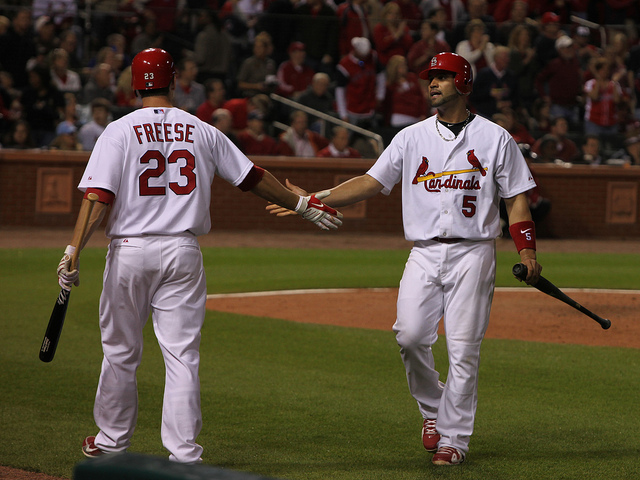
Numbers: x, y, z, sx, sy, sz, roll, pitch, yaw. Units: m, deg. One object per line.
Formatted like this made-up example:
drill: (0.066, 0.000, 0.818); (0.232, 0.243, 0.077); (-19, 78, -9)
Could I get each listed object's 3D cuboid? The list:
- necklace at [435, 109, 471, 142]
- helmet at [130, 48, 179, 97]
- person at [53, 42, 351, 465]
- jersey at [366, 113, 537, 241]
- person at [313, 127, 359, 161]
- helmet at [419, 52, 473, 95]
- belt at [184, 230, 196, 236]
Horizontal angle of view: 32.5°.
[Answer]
necklace: (1.045, -0.961, 9.310); (0.244, 0.273, 0.023); (1, -33, 19)
helmet: (-1.370, -1.433, 8.984); (0.376, 0.321, 0.445); (0, 12, 5)
person: (-1.276, 0.114, 8.893); (1.215, 3.258, 1.180); (9, 16, 25)
jersey: (1.113, -0.520, 9.268); (1.343, 1.070, 0.532); (4, 14, 9)
person: (0.256, -1.687, 19.364); (0.525, 0.578, 1.276); (10, 12, 39)
helmet: (1.084, -1.456, 9.408); (0.494, 0.302, 0.327); (3, 6, -29)
belt: (-1.053, -0.061, 8.758); (0.055, 0.012, 0.051); (27, -4, 12)
